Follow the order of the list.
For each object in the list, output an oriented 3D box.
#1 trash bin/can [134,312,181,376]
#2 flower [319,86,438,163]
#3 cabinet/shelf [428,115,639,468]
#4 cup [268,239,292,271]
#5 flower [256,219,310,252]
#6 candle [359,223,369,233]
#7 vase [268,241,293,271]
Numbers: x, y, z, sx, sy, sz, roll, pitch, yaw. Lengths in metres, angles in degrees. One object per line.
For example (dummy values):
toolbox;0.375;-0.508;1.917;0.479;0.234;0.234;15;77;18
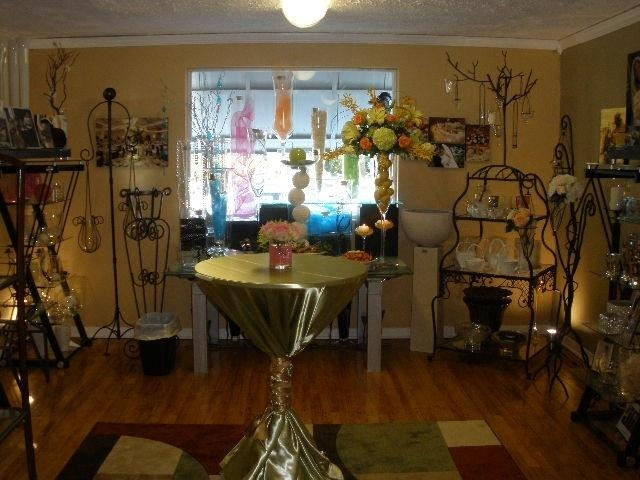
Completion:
trash bin/can;-1.416;0.914;4.861;0.487;0.572;0.466;1;0;-2
flower;0.542;-0.965;4.728;0.711;0.445;0.700;-13;29;-19
cabinet/shelf;1.781;0.107;4.581;1.515;2.261;2.518;2;13;5
cup;-0.246;0.099;3.331;0.163;0.164;0.142;-2;8;-20
flower;-0.237;-0.043;3.496;0.284;0.192;0.304;1;4;8
candle;0.419;-0.111;5.057;0.076;0.078;0.077;3;3;-5
vase;-0.240;0.102;3.331;0.153;0.152;0.154;-1;-4;3
